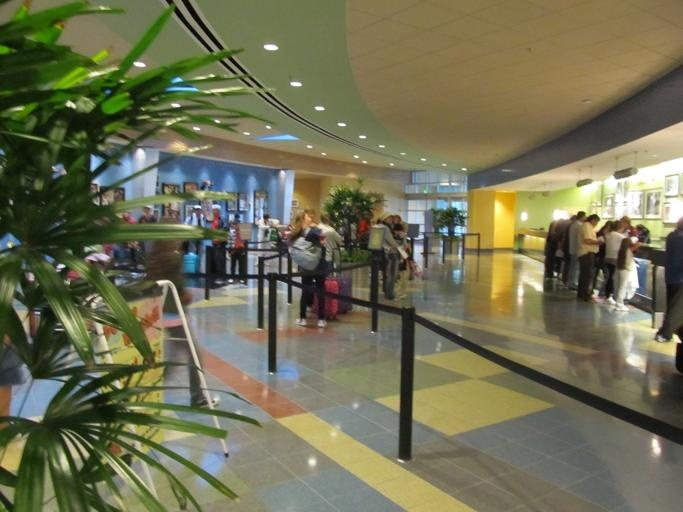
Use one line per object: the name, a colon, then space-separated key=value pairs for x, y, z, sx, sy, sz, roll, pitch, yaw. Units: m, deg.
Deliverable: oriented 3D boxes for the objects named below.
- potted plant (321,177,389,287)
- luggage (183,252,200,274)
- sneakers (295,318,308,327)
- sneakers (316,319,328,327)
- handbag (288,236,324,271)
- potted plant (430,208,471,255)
potted plant: x=0.775 y=-1.457 z=15.890 sx=1.952 sy=2.310 sz=2.234 roll=-8 pitch=12 yaw=-10
luggage: x=-2.592 y=0.095 z=8.311 sx=0.255 sy=0.255 sz=0.413 roll=2 pitch=0 yaw=0
sneakers: x=-0.562 y=0.920 z=6.821 sx=0.081 sy=0.081 sz=0.205 roll=-1 pitch=7 yaw=-19
sneakers: x=-0.290 y=0.929 z=6.793 sx=0.104 sy=0.102 sz=0.281 roll=-2 pitch=-8 yaw=6
handbag: x=-0.493 y=-0.061 z=6.822 sx=0.559 sy=0.443 sz=0.286 roll=-4 pitch=2 yaw=12
potted plant: x=5.587 y=-1.294 z=22.745 sx=2.315 sy=2.532 sz=2.496 roll=-1 pitch=7 yaw=-2
